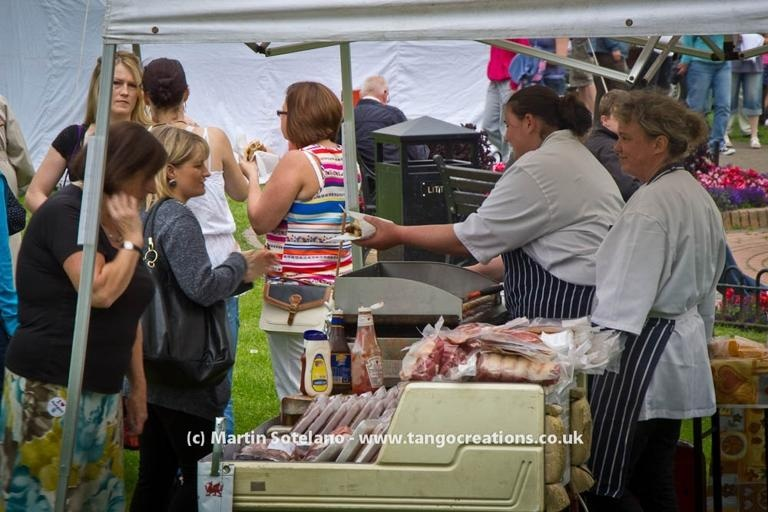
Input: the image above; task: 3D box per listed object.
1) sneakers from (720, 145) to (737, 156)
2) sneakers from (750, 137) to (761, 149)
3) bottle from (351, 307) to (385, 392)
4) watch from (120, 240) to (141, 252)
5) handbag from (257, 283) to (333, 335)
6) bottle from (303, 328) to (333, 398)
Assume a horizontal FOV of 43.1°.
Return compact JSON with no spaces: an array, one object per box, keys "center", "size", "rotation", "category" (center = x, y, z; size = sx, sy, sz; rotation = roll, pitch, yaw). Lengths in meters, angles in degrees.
[{"center":[4.718,-1.414,13.233],"size":[0.090,0.107,0.254],"rotation":[-1,1,-10],"category":"sneakers"},{"center":[5.413,-1.606,14.071],"size":[0.096,0.106,0.270],"rotation":[-2,5,10],"category":"sneakers"},{"center":[-0.068,0.438,4.672],"size":[0.171,0.412,0.149],"rotation":[-3,6,-28],"category":"bottle"},{"center":[-1.208,-0.043,4.610],"size":[0.083,0.049,0.031],"rotation":[-2,5,-16],"category":"watch"},{"center":[-0.510,0.308,5.702],"size":[0.296,0.210,0.117],"rotation":[2,-8,7],"category":"handbag"},{"center":[-0.328,0.512,4.690],"size":[0.149,0.306,0.085],"rotation":[0,5,-3],"category":"bottle"}]
